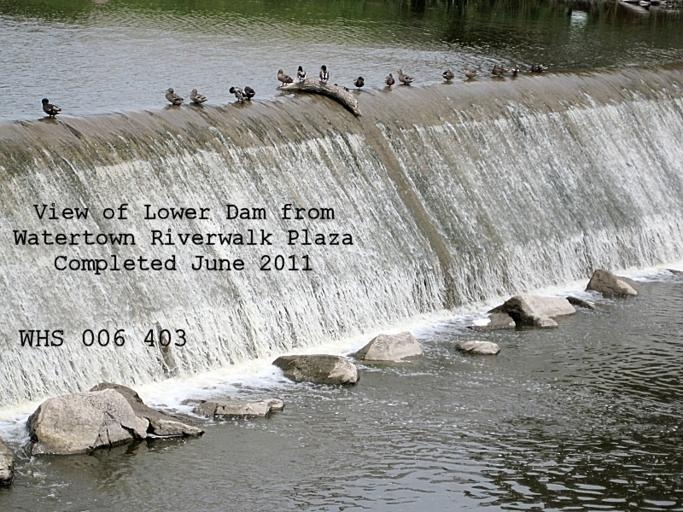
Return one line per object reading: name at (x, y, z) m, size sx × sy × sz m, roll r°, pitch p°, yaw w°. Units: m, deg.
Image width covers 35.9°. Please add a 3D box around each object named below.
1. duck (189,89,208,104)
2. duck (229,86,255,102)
duck at (-4.683, -5.207, 34.734) m, size 0.542 × 0.457 × 0.625 m, roll -4°, pitch 20°, yaw -7°
duck at (-3.302, -5.437, 35.473) m, size 0.646 × 0.419 × 0.707 m, roll 9°, pitch 22°, yaw 28°
